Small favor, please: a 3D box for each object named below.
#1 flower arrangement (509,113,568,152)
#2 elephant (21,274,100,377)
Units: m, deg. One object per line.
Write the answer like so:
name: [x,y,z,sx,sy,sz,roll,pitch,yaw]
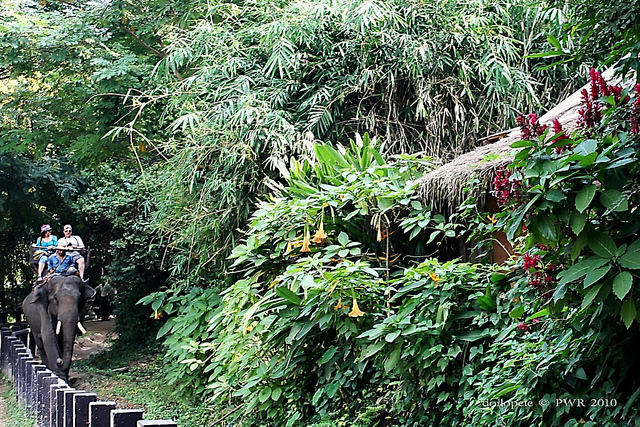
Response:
flower arrangement: [1.566,-0.592,4.616,0.326,0.301,0.420,6,5,8]
elephant: [-4.491,1.943,10.793,1.271,1.726,2.372,-3,4,-33]
